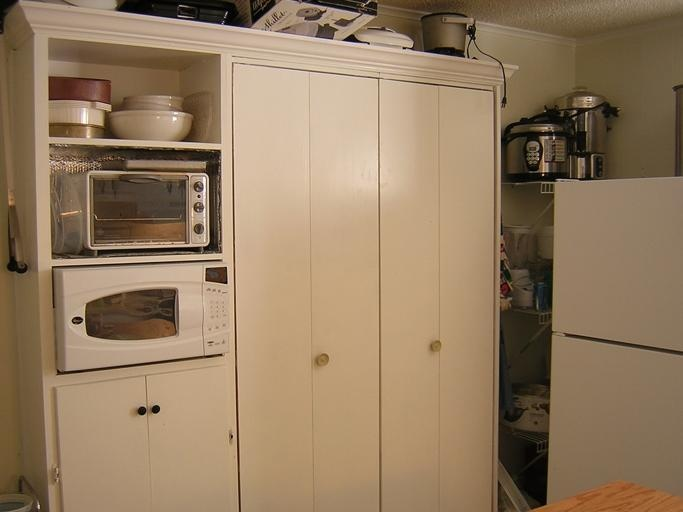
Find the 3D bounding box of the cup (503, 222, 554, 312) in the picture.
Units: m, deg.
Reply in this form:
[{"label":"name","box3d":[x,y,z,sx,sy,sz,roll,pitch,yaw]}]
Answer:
[{"label":"cup","box3d":[1.027,0.056,3.373,0.250,0.535,0.188,-3,8,-11]}]

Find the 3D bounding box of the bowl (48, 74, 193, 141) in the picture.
[{"label":"bowl","box3d":[-0.873,-0.572,2.405,0.529,0.239,0.183,-2,4,-23]}]

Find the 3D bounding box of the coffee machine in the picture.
[{"label":"coffee machine","box3d":[1.362,-0.694,3.465,0.207,0.578,0.237,-10,12,-34]}]

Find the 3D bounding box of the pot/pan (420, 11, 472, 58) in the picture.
[{"label":"pot/pan","box3d":[0.530,-1.131,3.044,0.254,0.249,0.168,-1,3,7]}]

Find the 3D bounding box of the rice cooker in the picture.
[{"label":"rice cooker","box3d":[1.122,-0.588,3.426,0.315,0.314,0.332,-2,7,-21]}]

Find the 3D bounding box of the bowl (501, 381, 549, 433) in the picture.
[{"label":"bowl","box3d":[1.027,0.822,3.373,0.257,0.225,0.251,3,5,0]}]

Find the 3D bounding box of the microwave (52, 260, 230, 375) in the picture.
[{"label":"microwave","box3d":[-0.828,0.184,2.387,0.515,0.414,0.554,8,5,43]}]

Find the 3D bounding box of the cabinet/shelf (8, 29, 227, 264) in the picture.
[{"label":"cabinet/shelf","box3d":[-0.885,-0.406,2.351,0.875,0.987,0.373,-1,0,-25]}]

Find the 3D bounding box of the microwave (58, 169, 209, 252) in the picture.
[{"label":"microwave","box3d":[-0.855,-0.218,2.425,0.406,0.347,0.487,7,7,38]}]
